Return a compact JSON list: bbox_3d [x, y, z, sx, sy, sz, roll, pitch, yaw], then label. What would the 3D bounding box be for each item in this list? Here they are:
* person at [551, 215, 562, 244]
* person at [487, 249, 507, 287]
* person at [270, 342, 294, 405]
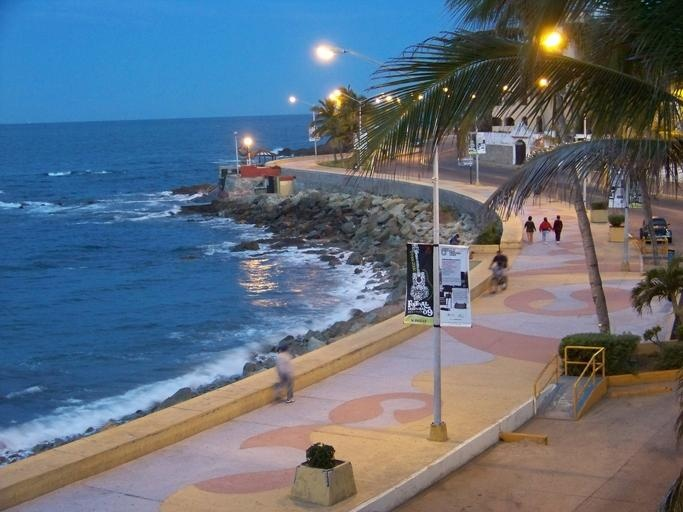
[{"bbox_3d":[12.414,-1.605,35.062,0.438,1.475,1.574,3,12,19],"label":"person"},{"bbox_3d":[6.336,0.618,24.501,0.599,1.504,0.697,0,13,9],"label":"person"},{"bbox_3d":[-1.471,2.930,15.544,0.509,1.228,1.420,-3,12,-5],"label":"person"}]
